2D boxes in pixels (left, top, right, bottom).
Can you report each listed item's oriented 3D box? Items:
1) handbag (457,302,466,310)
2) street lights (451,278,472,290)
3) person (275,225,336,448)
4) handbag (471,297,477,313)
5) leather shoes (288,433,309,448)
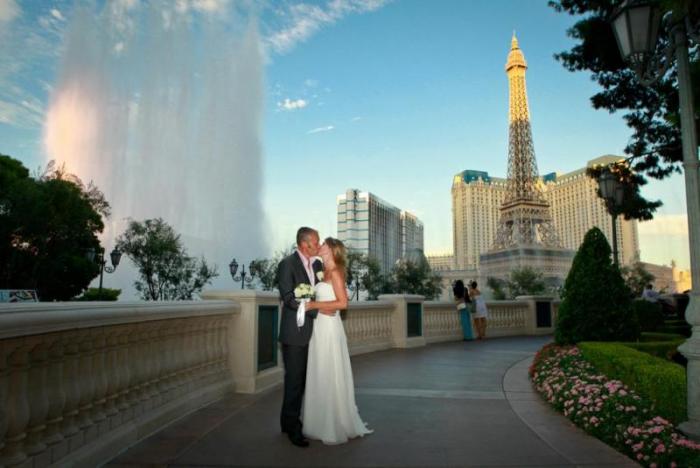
[{"bbox_3d":[4.348,2.789,17.973,0.355,0.279,0.355,1,-5,4],"label":"handbag"},{"bbox_3d":[4.235,2.005,18.160,0.811,0.414,1.184,1,-6,-2],"label":"street lights"},{"bbox_3d":[-0.757,1.547,6.657,0.622,2.768,0.557,2,-5,-16],"label":"person"},{"bbox_3d":[5.028,2.841,18.744,0.307,0.604,0.605,-1,-4,9],"label":"handbag"},{"bbox_3d":[-0.695,2.865,6.395,0.266,0.120,0.127,-6,-12,37],"label":"leather shoes"}]
